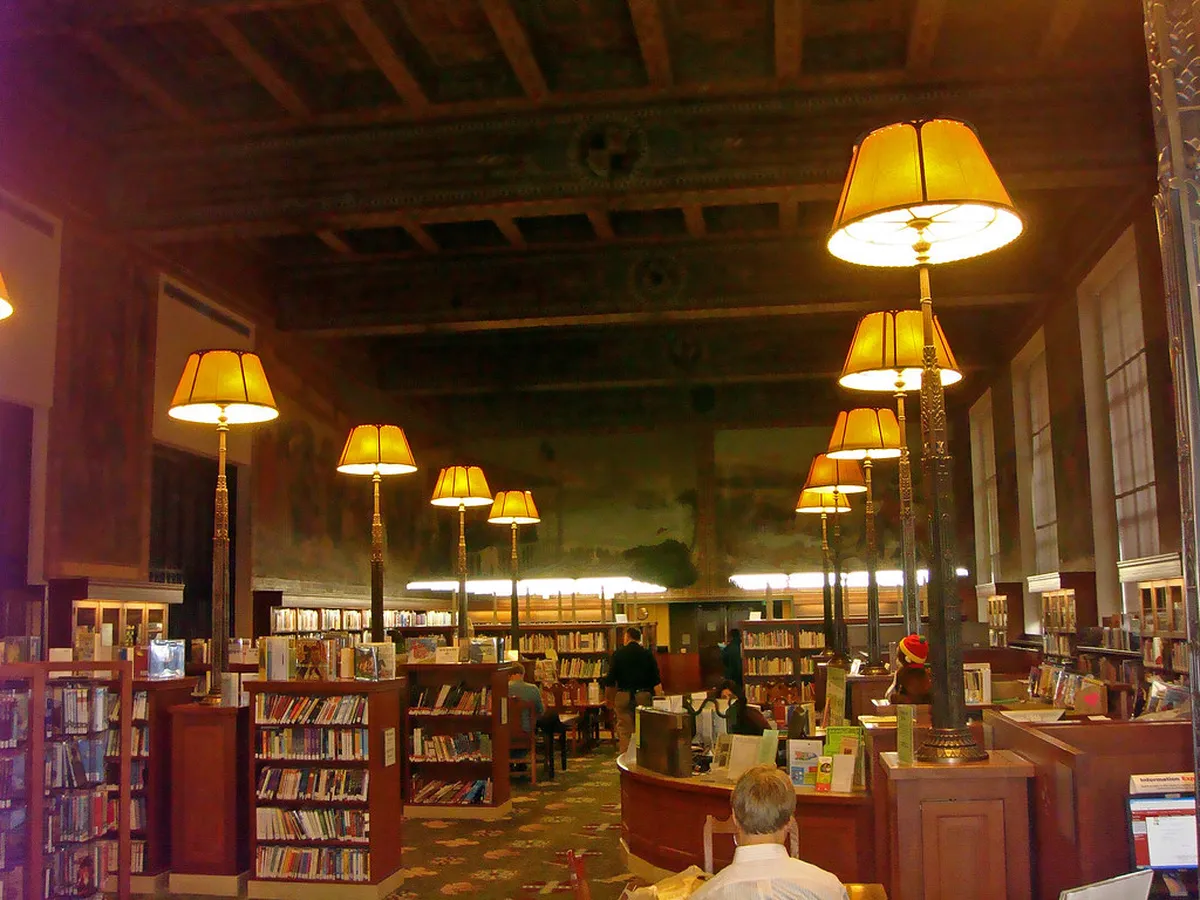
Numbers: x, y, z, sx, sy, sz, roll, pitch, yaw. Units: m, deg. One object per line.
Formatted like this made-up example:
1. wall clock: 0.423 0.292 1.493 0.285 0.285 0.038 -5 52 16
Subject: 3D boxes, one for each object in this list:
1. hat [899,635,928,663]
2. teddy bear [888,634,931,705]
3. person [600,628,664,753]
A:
1. hat: 2.423 1.576 8.755 0.150 0.179 0.203 17 21 -14
2. teddy bear: 2.333 1.662 8.491 0.271 0.534 0.500 3 8 11
3. person: 0.446 3.272 15.082 0.633 1.818 0.553 0 8 -3
